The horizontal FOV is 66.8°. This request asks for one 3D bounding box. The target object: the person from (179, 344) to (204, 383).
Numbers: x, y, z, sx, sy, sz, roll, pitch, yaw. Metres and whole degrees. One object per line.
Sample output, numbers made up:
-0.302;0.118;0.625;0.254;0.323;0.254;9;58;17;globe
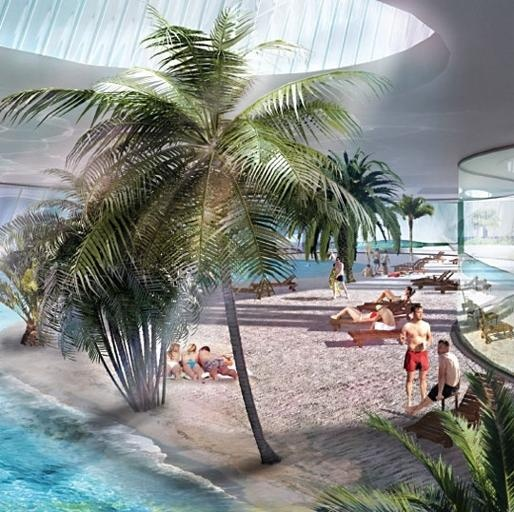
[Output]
-1.337;2.162;7.985;0.296;0.322;0.808;-6;29;-7;person
